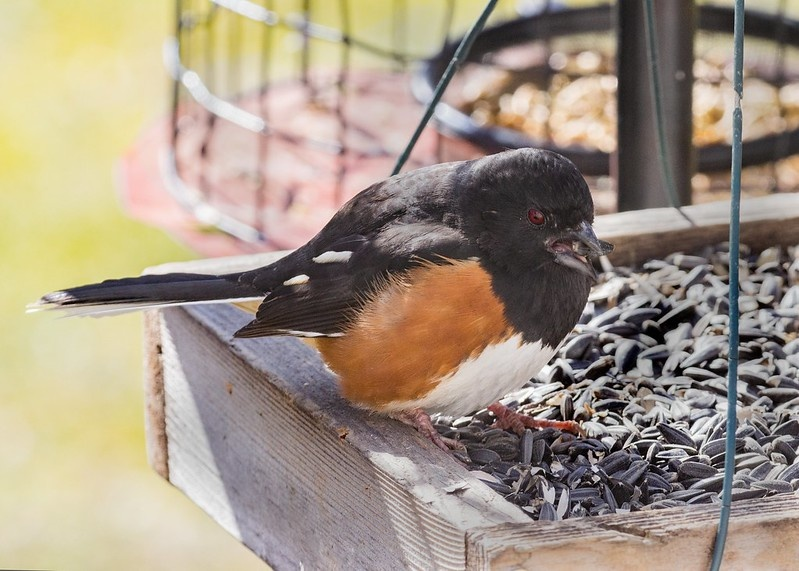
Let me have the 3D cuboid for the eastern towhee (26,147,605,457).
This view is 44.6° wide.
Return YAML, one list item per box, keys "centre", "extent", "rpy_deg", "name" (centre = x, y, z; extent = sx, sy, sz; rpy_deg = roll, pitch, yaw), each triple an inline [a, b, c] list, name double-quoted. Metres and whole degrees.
- centre: [0.041, -0.053, 2.361]
  extent: [1.716, 0.659, 0.549]
  rpy_deg: [4, 16, 22]
  name: "eastern towhee"
